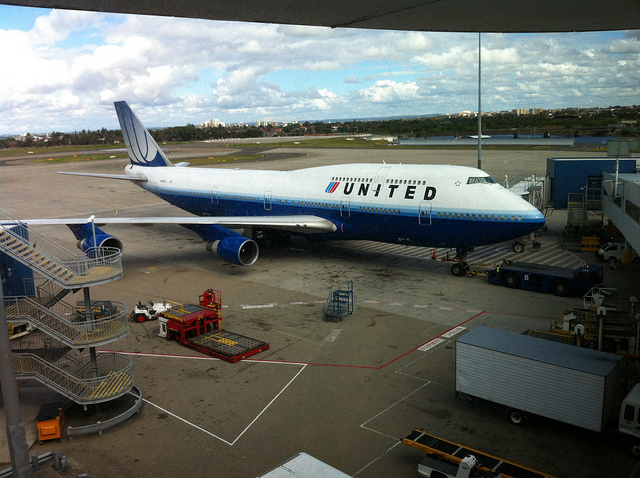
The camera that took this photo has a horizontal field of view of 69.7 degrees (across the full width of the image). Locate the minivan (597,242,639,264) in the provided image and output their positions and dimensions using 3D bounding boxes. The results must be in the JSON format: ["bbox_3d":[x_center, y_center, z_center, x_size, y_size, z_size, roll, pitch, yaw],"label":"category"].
[{"bbox_3d":[20.492,0.969,32.124,3.665,1.335,1.888,1,4,13],"label":"minivan"}]
